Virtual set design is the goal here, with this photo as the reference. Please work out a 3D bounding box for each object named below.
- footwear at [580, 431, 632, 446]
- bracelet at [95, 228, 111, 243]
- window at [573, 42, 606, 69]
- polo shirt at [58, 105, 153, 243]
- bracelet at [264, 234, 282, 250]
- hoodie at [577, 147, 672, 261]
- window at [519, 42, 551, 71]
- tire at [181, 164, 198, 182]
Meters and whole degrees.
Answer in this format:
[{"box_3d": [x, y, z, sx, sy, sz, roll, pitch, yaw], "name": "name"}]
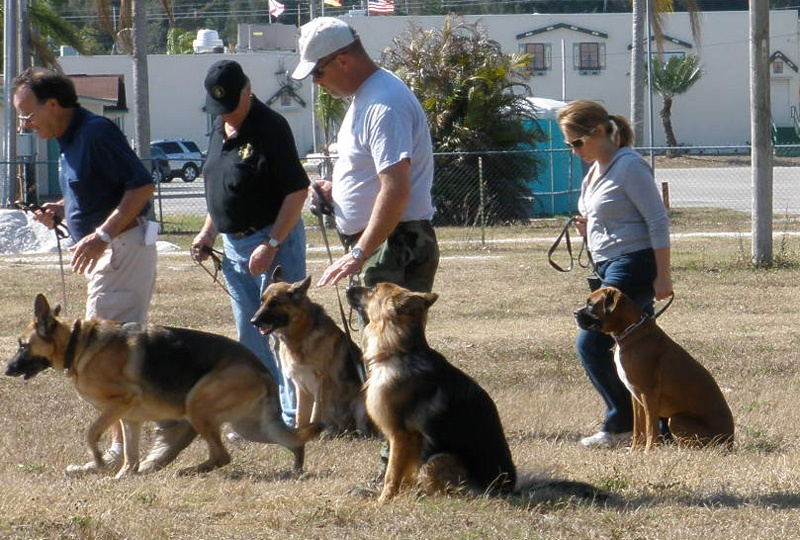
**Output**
[{"box_3d": [3.424, 2.811, 24.677, 0.843, 0.365, 0.310, 2, -6, 2], "name": "footwear"}, {"box_3d": [-4.870, -0.486, 24.130, 0.167, 0.264, 0.269, -50, 1, -20], "name": "bracelet"}, {"box_3d": [7.994, -8.966, 62.564, 1.093, 1.074, 0.162, -1, 5, -3], "name": "window"}, {"box_3d": [-4.924, -1.525, 24.240, 1.355, 2.191, 0.506, -3, 8, -7], "name": "polo shirt"}, {"box_3d": [-2.087, -0.407, 24.240, 0.254, 0.159, 0.233, 16, -9, -29], "name": "bracelet"}, {"box_3d": [3.686, -1.017, 24.336, 1.392, 1.858, 0.483, -1, 8, 6], "name": "hoodie"}, {"box_3d": [5.763, -8.740, 61.922, 1.024, 1.198, 1.419, -2, 8, 3], "name": "window"}, {"box_3d": [-7.924, -3.523, 55.274, 0.231, 0.661, 0.654, 20, 3, 36], "name": "tire"}]
